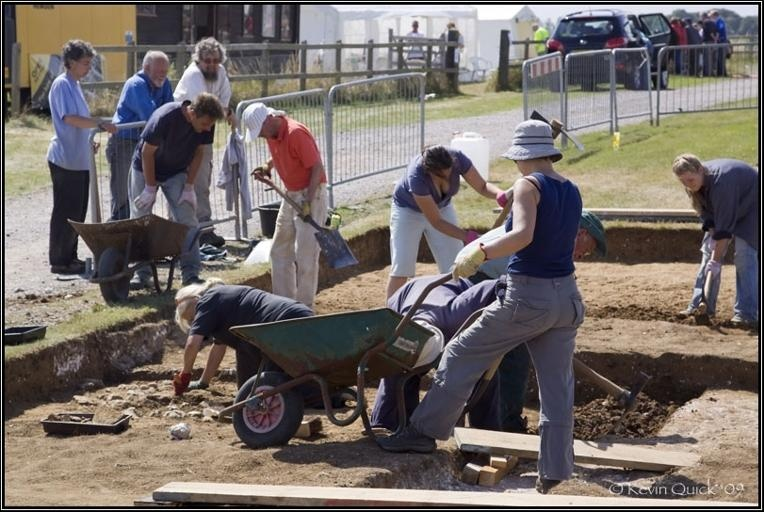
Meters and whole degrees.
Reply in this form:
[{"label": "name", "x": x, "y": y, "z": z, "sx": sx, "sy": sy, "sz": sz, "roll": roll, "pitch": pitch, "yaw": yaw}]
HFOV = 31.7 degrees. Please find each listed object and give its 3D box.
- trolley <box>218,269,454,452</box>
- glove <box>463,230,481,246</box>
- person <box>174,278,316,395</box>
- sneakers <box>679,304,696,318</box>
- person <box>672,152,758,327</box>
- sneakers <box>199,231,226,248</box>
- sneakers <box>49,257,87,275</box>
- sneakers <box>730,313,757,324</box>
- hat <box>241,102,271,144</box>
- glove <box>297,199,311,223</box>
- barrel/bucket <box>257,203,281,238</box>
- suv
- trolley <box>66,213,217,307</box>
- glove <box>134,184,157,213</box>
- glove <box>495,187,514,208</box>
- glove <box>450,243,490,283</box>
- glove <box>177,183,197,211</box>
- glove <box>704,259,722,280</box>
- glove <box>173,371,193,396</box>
[{"label": "trolley", "x": -0.569, "y": 1.353, "z": 16.703, "sx": 3.077, "sy": 1.835, "sz": 1.543, "roll": -7, "pitch": -15, "yaw": 8}, {"label": "glove", "x": 1.203, "y": -0.272, "z": 17.502, "sx": 0.203, "sy": 0.228, "sz": 0.272, "roll": -4, "pitch": 7, "yaw": -17}, {"label": "person", "x": -1.749, "y": 0.992, "z": 17.154, "sx": 1.744, "sy": 1.286, "sz": 1.153, "roll": -3, "pitch": -6, "yaw": 22}, {"label": "sneakers", "x": 4.251, "y": 0.744, "z": 18.656, "sx": 0.137, "sy": 0.114, "sz": 0.218, "roll": 11, "pitch": -43, "yaw": -25}, {"label": "person", "x": 4.569, "y": -0.207, "z": 18.140, "sx": 0.997, "sy": 2.380, "sz": 0.632, "roll": -1, "pitch": 7, "yaw": 12}, {"label": "sneakers", "x": -2.570, "y": -0.262, "z": 20.275, "sx": 0.437, "sy": 0.205, "sz": 0.149, "roll": 7, "pitch": 10, "yaw": -46}, {"label": "sneakers", "x": -4.509, "y": 0.135, "z": 19.361, "sx": 0.527, "sy": 0.265, "sz": 0.211, "roll": -2, "pitch": 5, "yaw": -11}, {"label": "sneakers", "x": 4.948, "y": 0.840, "z": 18.391, "sx": 0.362, "sy": 0.178, "sz": 0.133, "roll": -2, "pitch": -1, "yaw": 14}, {"label": "hat", "x": -1.681, "y": -1.804, "z": 18.040, "sx": 0.393, "sy": 0.478, "sz": 0.308, "roll": -1, "pitch": 7, "yaw": 11}, {"label": "glove", "x": -1.045, "y": -0.620, "z": 18.229, "sx": 0.092, "sy": 0.292, "sz": 0.202, "roll": -6, "pitch": -11, "yaw": -6}, {"label": "barrel/bucket", "x": -1.737, "y": -0.547, "z": 20.585, "sx": 0.405, "sy": 0.422, "sz": 0.472, "roll": 2, "pitch": 4, "yaw": 4}, {"label": "suv", "x": 4.618, "y": -4.228, "z": 27.376, "sx": 2.668, "sy": 1.707, "sz": 8.044, "roll": -1, "pitch": 7, "yaw": 12}, {"label": "trolley", "x": -3.442, "y": 0.055, "z": 19.422, "sx": 1.471, "sy": 1.152, "sz": 2.834, "roll": -5, "pitch": 0, "yaw": 12}, {"label": "glove", "x": -3.317, "y": -0.830, "z": 18.844, "sx": 0.324, "sy": 0.359, "sz": 0.249, "roll": -4, "pitch": 7, "yaw": -10}, {"label": "glove", "x": 1.593, "y": -0.799, "z": 17.411, "sx": 0.094, "sy": 0.274, "sz": 0.191, "roll": 17, "pitch": -12, "yaw": -11}, {"label": "glove", "x": 1.032, "y": 0.056, "z": 15.965, "sx": 0.475, "sy": 0.415, "sz": 0.129, "roll": 2, "pitch": 8, "yaw": 35}, {"label": "glove", "x": -2.781, "y": -0.844, "z": 19.043, "sx": 0.191, "sy": 0.344, "sz": 0.170, "roll": -2, "pitch": 14, "yaw": -37}, {"label": "glove", "x": 4.499, "y": 0.157, "z": 18.241, "sx": 0.161, "sy": 0.232, "sz": 0.220, "roll": 0, "pitch": 4, "yaw": 10}, {"label": "glove", "x": -2.563, "y": 1.609, "z": 17.164, "sx": 0.167, "sy": 0.156, "sz": 0.463, "roll": -14, "pitch": -35, "yaw": -18}]
